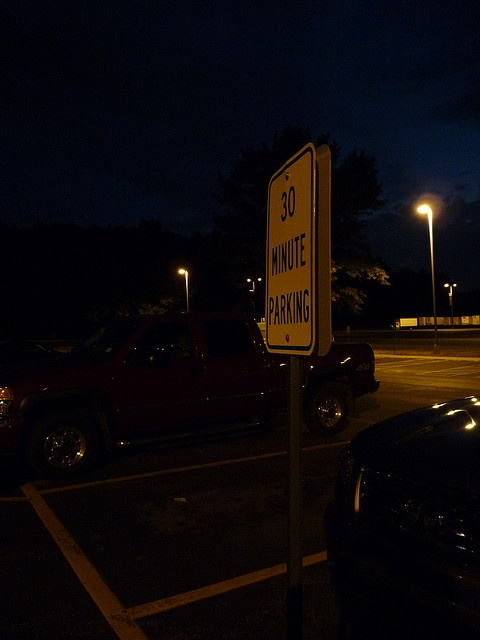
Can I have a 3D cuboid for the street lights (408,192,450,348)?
[{"bbox_3d":[4.793,-1.096,12.553,0.719,4.951,0.618,-13,-34,39],"label":"street lights"}]
